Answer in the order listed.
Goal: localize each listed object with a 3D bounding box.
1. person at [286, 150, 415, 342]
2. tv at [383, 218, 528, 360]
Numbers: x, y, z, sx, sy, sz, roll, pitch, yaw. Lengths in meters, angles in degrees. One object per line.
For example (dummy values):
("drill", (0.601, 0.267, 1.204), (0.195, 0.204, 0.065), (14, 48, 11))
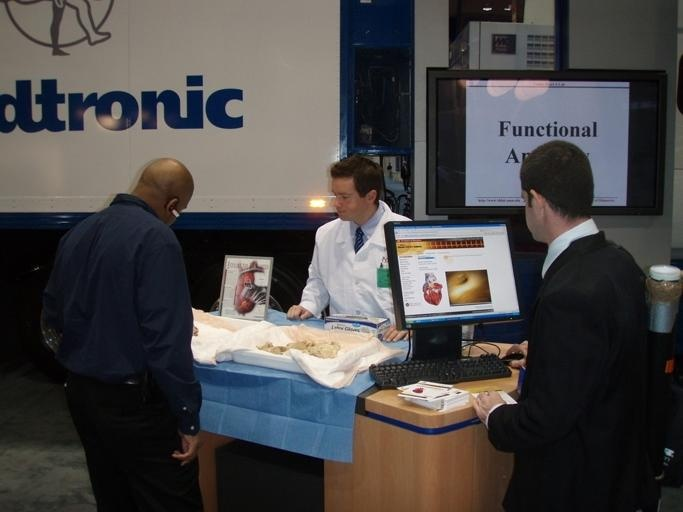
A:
("person", (0.096, -0.029, 3.598), (0.703, 1.144, 0.577), (8, 18, 27))
("tv", (0.488, 0.150, 2.667), (0.603, 0.670, 0.274), (-3, 5, -12))
